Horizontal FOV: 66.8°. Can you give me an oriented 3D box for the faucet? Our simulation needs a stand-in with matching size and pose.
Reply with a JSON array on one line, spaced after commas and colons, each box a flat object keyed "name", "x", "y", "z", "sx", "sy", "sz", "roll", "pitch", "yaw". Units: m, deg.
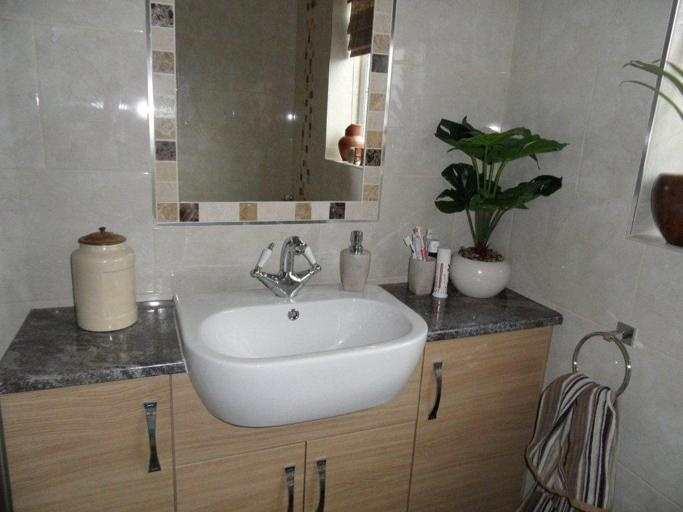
[{"name": "faucet", "x": -0.200, "y": 0.043, "z": 1.795, "sx": 0.187, "sy": 0.249, "sz": 0.175, "roll": -5, "pitch": 21, "yaw": -32}]

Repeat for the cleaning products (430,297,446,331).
[{"name": "cleaning products", "x": 0.347, "y": 0.202, "z": 1.850, "sx": 0.048, "sy": 0.034, "sz": 0.263, "roll": 2, "pitch": 13, "yaw": 12}]

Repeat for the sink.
[{"name": "sink", "x": -0.122, "y": 0.318, "z": 1.687, "sx": 0.765, "sy": 0.331, "sz": 0.509, "roll": -6, "pitch": 14, "yaw": -19}]

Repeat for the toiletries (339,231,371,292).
[{"name": "toiletries", "x": 0.050, "y": 0.035, "z": 1.910, "sx": 0.091, "sy": 0.239, "sz": 0.104, "roll": -2, "pitch": 20, "yaw": -18}]

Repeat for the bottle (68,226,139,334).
[{"name": "bottle", "x": -0.739, "y": 0.068, "z": 1.649, "sx": 0.188, "sy": 0.333, "sz": 0.197, "roll": 5, "pitch": 18, "yaw": -2}]

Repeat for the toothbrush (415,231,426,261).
[{"name": "toothbrush", "x": 0.305, "y": -0.040, "z": 1.983, "sx": 0.032, "sy": 0.124, "sz": 0.032, "roll": -14, "pitch": 8, "yaw": 11}]

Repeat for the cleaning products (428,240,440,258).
[{"name": "cleaning products", "x": 0.352, "y": -0.025, "z": 1.966, "sx": 0.049, "sy": 0.088, "sz": 0.049, "roll": 4, "pitch": 20, "yaw": 13}]

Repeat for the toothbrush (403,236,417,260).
[{"name": "toothbrush", "x": 0.263, "y": -0.038, "z": 1.984, "sx": 0.032, "sy": 0.111, "sz": 0.028, "roll": -16, "pitch": 14, "yaw": -5}]

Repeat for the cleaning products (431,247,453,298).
[{"name": "cleaning products", "x": 0.383, "y": 0.066, "z": 1.970, "sx": 0.062, "sy": 0.188, "sz": 0.051, "roll": 0, "pitch": 14, "yaw": 3}]

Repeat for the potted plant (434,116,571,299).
[{"name": "potted plant", "x": 0.567, "y": -0.197, "z": 2.032, "sx": 0.376, "sy": 0.771, "sz": 0.331, "roll": 1, "pitch": 19, "yaw": -10}]

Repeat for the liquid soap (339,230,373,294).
[{"name": "liquid soap", "x": 0.050, "y": 0.034, "z": 1.912, "sx": 0.093, "sy": 0.241, "sz": 0.105, "roll": -2, "pitch": 20, "yaw": -18}]
